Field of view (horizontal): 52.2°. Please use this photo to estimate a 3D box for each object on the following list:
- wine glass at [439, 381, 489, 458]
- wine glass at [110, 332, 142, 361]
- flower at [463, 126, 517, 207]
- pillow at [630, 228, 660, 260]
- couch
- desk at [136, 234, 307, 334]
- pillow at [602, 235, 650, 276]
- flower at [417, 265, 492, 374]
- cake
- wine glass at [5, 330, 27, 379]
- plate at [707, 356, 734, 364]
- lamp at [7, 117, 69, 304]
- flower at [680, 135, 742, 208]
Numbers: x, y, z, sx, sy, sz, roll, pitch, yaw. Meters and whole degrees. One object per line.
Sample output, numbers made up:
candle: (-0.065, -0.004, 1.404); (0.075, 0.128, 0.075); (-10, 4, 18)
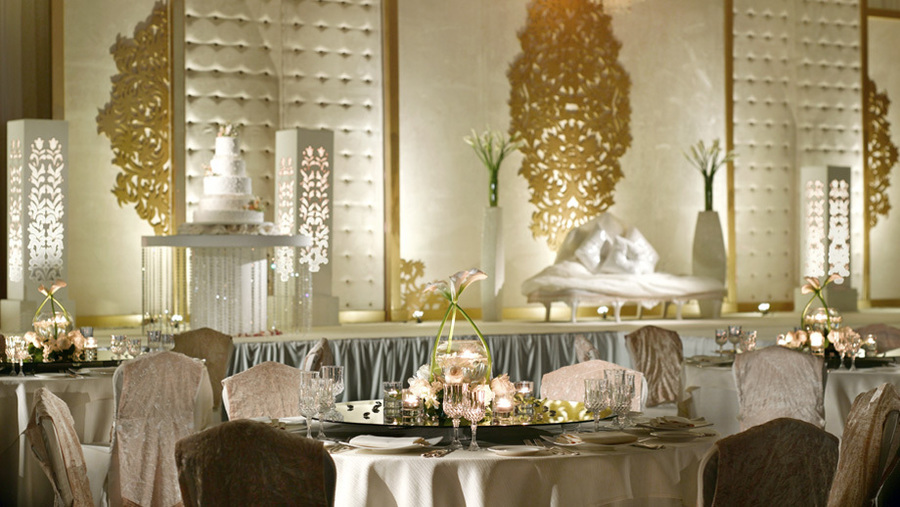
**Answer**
wine glass: (0.118, 1.137, 6.464); (0.322, 0.447, 0.390); (0, -4, 3)
wine glass: (-2.934, 0.853, 8.311); (0.299, 0.239, 0.284); (-2, -4, 11)
flower: (0.557, -1.052, 12.253); (0.743, 1.011, 0.730); (-11, -15, 37)
pillow: (2.573, -0.105, 12.249); (0.308, 0.227, 0.326); (25, -20, 41)
couch: (2.406, 0.236, 12.181); (2.219, 1.213, 1.500); (-1, 1, -22)
desk: (-2.675, 0.293, 10.058); (1.280, 0.990, 1.265); (0, -4, -1)
pillow: (2.298, 0.045, 11.845); (0.733, 0.465, 0.162); (3, -4, -25)
flower: (0.026, 0.498, 6.774); (0.419, 0.609, 0.404); (-1, 8, -3)
cake: (-2.551, -0.832, 10.594); (0.835, 0.957, 0.846); (1, 7, -6)
wine glass: (-3.748, 0.889, 7.943); (0.172, 0.326, 0.347); (2, -5, -24)
plate: (2.464, 0.983, 8.372); (0.192, 0.084, 0.238); (-1, -6, 16)
lamp: (-4.631, -0.469, 10.240); (0.668, 1.975, 0.265); (0, -3, 4)
flower: (3.679, -1.156, 13.161); (1.022, 1.580, 0.237); (1, -1, -6)
